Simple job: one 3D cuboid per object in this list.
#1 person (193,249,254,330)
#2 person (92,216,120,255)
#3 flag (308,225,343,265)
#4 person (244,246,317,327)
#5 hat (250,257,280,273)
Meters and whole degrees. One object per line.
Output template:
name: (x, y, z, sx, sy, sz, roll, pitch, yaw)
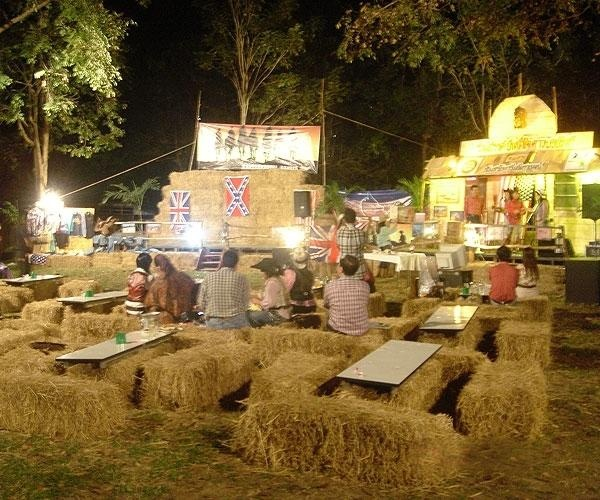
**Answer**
person: (-1.131, 0.535, 8.120, 1.115, 1.408, 1.064, 1, 14, -3)
person: (-8.401, -0.702, 22.146, 0.987, 1.276, 2.333, -6, 11, -19)
flag: (0.660, -0.157, 14.697, 1.016, 0.995, 0.302, 0, -7, 29)
person: (-0.222, 0.634, 8.456, 1.173, 1.124, 0.918, 4, 8, 25)
hat: (-0.509, 0.254, 8.206, 0.330, 0.117, 0.269, 12, 6, -20)
